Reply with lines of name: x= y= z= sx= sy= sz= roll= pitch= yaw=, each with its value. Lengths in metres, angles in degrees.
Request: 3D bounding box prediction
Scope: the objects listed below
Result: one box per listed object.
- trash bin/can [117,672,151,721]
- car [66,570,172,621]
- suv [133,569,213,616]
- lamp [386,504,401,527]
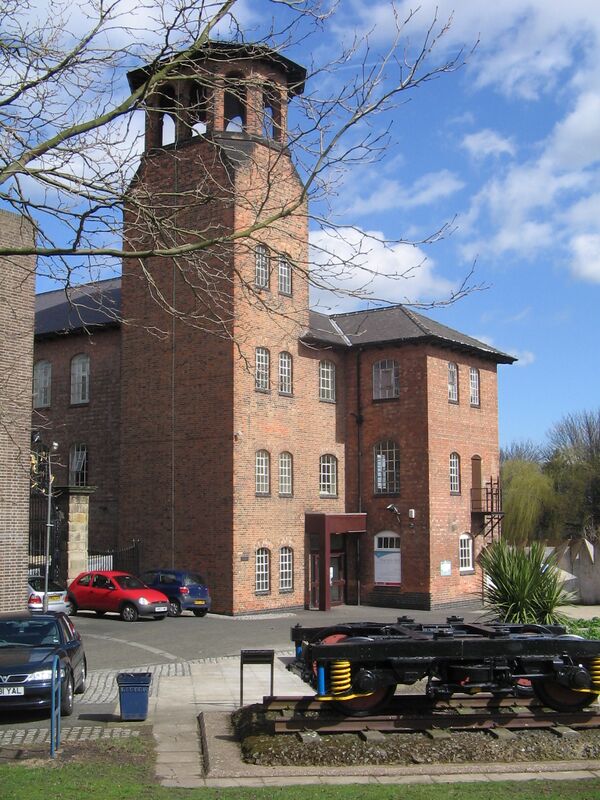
trash bin/can: x=-2.238 y=3.990 z=12.604 sx=0.413 sy=0.625 sz=0.505 roll=0 pitch=-9 yaw=-9
car: x=-5.309 y=5.698 z=27.551 sx=2.886 sy=1.017 sz=1.510 roll=-7 pitch=-12 yaw=33
suv: x=-3.843 y=5.830 z=28.814 sx=2.208 sy=0.902 sz=1.340 roll=1 pitch=-5 yaw=37
lamp: x=3.424 y=4.116 z=33.952 sx=0.304 sy=0.680 sz=0.436 roll=-5 pitch=-41 yaw=-39
